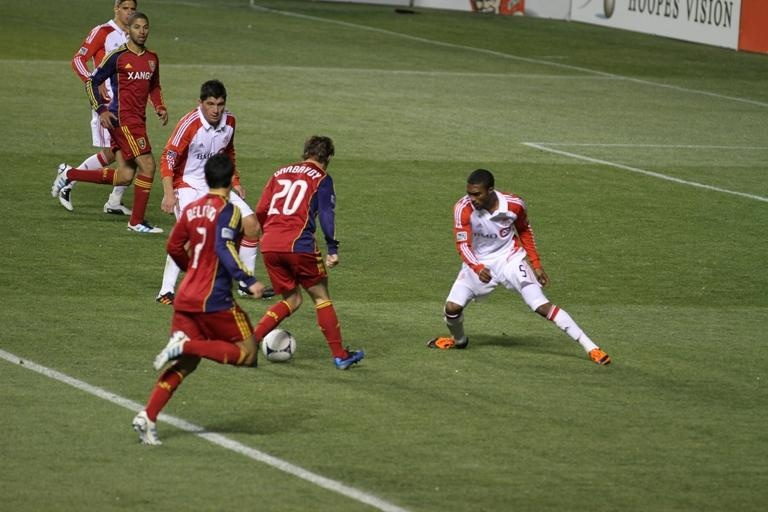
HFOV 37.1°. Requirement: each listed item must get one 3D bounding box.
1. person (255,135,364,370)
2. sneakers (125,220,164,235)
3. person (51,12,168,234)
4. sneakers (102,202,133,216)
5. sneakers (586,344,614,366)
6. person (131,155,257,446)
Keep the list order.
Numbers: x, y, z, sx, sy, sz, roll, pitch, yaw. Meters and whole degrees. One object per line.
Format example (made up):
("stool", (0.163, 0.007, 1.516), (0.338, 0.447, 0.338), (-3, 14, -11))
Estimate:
("person", (-0.842, 0.094, 12.382), (1.226, 2.156, 0.682), (5, 10, -6))
("sneakers", (-3.395, -0.386, 15.998), (0.522, 0.146, 0.173), (0, 8, -3))
("person", (-3.677, -1.834, 15.691), (1.321, 3.030, 1.548), (2, 11, -23))
("sneakers", (-3.982, -0.681, 16.850), (0.492, 0.149, 0.155), (2, 8, -7))
("sneakers", (2.379, 1.098, 12.693), (0.312, 0.126, 0.142), (26, 7, 34))
("person", (-1.728, 0.427, 10.768), (1.104, 2.775, 0.790), (5, 10, -8))
